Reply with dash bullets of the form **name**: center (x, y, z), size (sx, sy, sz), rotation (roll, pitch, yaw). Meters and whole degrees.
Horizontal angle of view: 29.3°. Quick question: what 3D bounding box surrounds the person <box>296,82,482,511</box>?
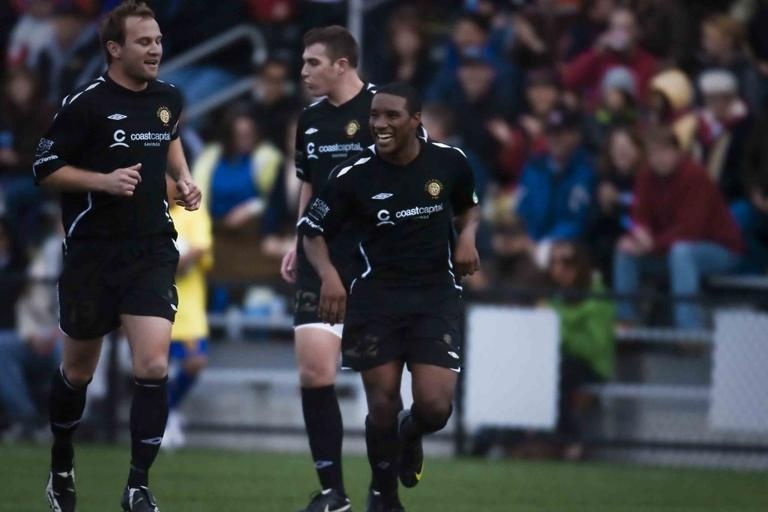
- **person**: center (0.084, 0.353, 11.954), size (1.398, 3.427, 0.714), rotation (-3, 14, -3)

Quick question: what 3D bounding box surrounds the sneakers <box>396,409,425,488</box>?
- **sneakers**: center (0.203, 1.615, 12.258), size (0.193, 0.634, 0.274), rotation (2, 25, 10)
